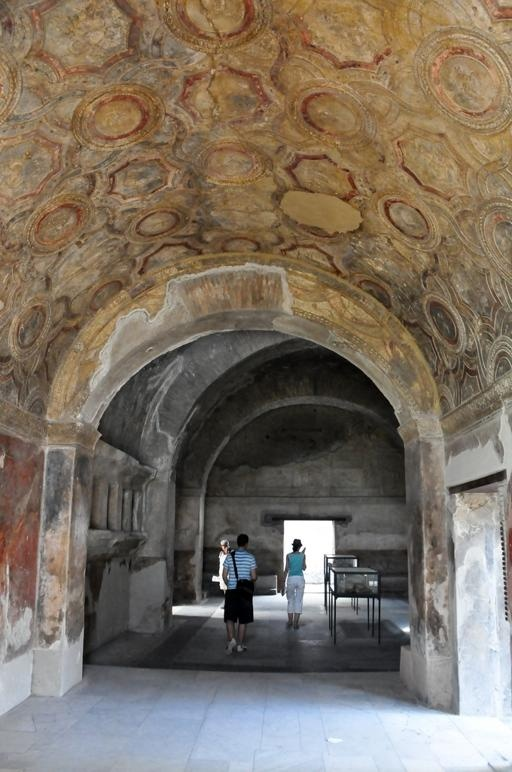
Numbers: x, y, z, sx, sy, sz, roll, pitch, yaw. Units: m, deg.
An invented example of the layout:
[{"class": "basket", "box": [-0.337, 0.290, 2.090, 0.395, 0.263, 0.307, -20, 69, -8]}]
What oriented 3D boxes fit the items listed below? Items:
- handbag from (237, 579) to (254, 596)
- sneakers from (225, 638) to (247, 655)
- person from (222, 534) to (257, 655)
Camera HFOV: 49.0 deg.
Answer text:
[{"class": "handbag", "box": [-0.170, 2.915, 8.061, 0.227, 0.329, 0.178, 5, 3, 6]}, {"class": "sneakers", "box": [-0.282, 3.789, 8.110, 0.129, 0.153, 0.357, 0, -10, 12]}, {"class": "person", "box": [-0.242, 3.034, 8.207, 0.417, 1.673, 0.427, 1, -2, -10]}]
